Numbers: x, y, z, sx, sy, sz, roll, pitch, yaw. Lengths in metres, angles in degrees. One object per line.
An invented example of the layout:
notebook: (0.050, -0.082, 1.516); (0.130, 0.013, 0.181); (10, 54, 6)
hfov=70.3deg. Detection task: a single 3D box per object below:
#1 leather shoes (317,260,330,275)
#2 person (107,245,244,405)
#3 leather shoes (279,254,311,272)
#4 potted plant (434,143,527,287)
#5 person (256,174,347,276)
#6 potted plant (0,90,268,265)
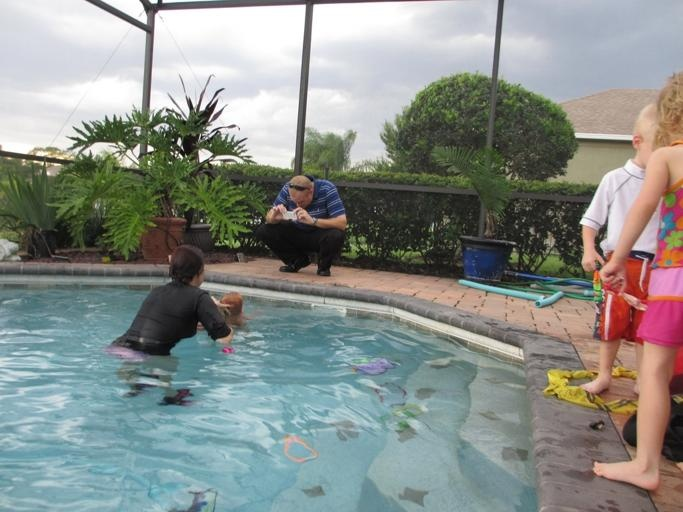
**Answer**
leather shoes: (-0.241, 0.167, 6.417); (0.167, 0.175, 0.245); (3, 11, -6)
person: (-1.139, 0.314, 3.252); (0.773, 0.730, 0.279); (2, 11, -11)
leather shoes: (-0.665, 0.123, 6.667); (0.446, 0.189, 0.165); (-4, 6, -40)
potted plant: (1.875, -0.576, 6.575); (0.719, 1.730, 1.094); (-2, 13, -29)
person: (-0.510, -0.403, 6.422); (1.038, 1.300, 0.669); (2, 11, -10)
potted plant: (-3.120, -1.240, 7.324); (2.833, 1.864, 2.747); (-5, 11, -37)
